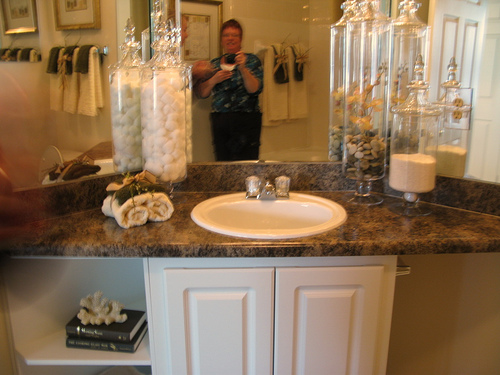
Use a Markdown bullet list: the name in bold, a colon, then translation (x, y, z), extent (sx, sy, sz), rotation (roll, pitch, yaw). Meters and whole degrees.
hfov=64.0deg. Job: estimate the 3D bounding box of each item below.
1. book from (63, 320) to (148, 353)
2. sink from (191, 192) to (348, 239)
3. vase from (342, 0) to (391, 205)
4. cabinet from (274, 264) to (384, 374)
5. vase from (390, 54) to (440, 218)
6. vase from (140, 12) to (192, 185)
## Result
- **book**: translation (-0.529, 0.554, 1.460), extent (0.293, 0.049, 0.120), rotation (-2, 13, -7)
- **sink**: translation (0.068, 0.131, 1.474), extent (0.556, 0.123, 0.460), rotation (2, 14, 11)
- **vase**: translation (0.444, -0.364, 1.543), extent (0.159, 0.671, 0.126), rotation (3, 15, 15)
- **cabinet**: translation (0.243, 0.403, 1.439), extent (0.376, 0.527, 0.348), rotation (0, 4, 3)
- **vase**: translation (0.617, -0.202, 1.502), extent (0.177, 0.574, 0.308), rotation (5, 15, 21)
- **vase**: translation (-0.330, -0.316, 1.536), extent (0.212, 0.697, 0.279), rotation (-5, 15, -15)
